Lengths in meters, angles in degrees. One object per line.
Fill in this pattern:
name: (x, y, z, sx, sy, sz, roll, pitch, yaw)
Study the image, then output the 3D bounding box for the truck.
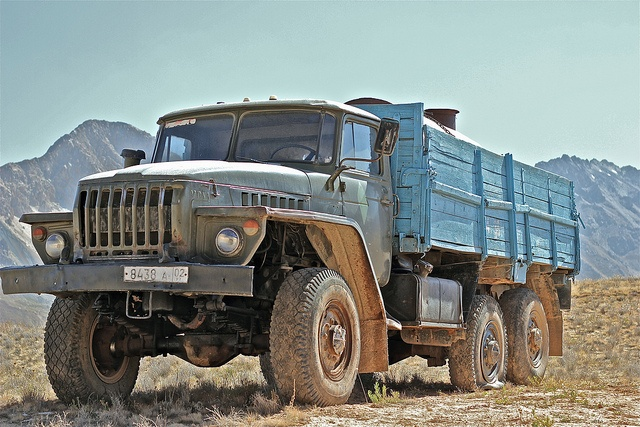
truck: (0.625, 0.909, 13.239, 4.677, 5.040, 10.843, -8, -15, 33)
